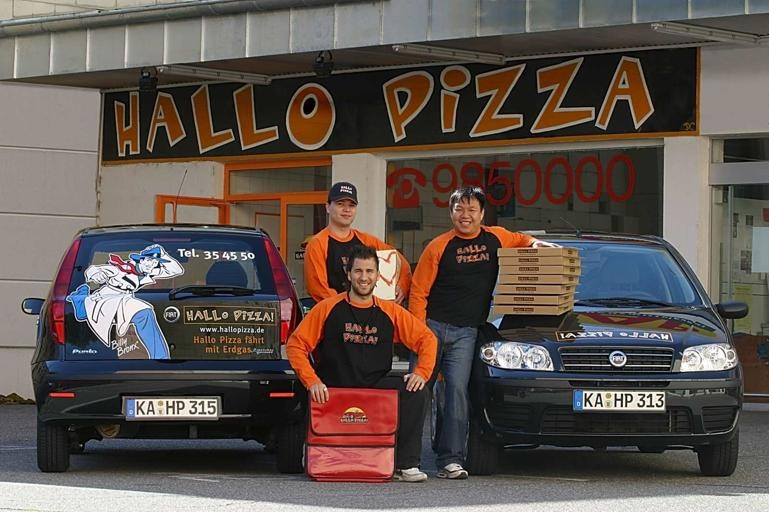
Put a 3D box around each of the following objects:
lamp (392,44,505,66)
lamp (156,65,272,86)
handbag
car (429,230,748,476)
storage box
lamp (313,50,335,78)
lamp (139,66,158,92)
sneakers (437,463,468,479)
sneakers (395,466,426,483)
[{"bbox_3d":[0.912,-2.932,19.263,1.877,0.206,0.359,-1,1,-30],"label":"lamp"},{"bbox_3d":[-2.816,-2.875,21.165,1.874,0.216,0.821,-2,1,-38],"label":"lamp"},{"bbox_3d":[-0.312,1.690,12.710,0.999,0.862,0.349,1,2,-1],"label":"handbag"},{"bbox_3d":[2.206,0.974,13.758,2.059,1.414,3.018,1,-10,1],"label":"car"},{"bbox_3d":[-0.317,1.685,12.709,1.000,0.865,0.351,1,2,-1],"label":"storage box"},{"bbox_3d":[-0.920,-2.890,19.898,0.297,0.343,0.605,-1,1,-3],"label":"lamp"},{"bbox_3d":[-3.791,-2.867,21.377,0.290,0.318,0.479,-1,1,-8],"label":"lamp"},{"bbox_3d":[0.670,2.130,13.086,0.302,0.123,0.127,-6,-8,36],"label":"sneakers"},{"bbox_3d":[0.256,2.130,12.878,0.352,0.143,0.123,-2,-4,15],"label":"sneakers"}]
